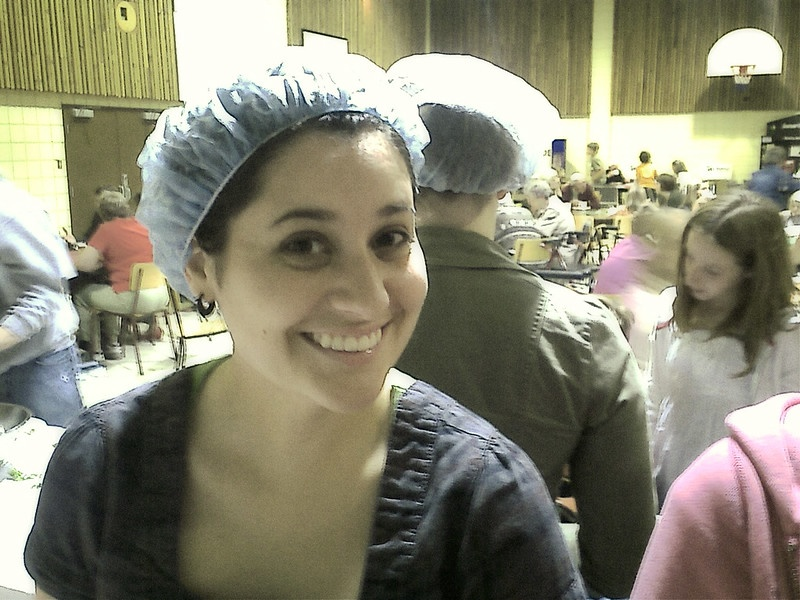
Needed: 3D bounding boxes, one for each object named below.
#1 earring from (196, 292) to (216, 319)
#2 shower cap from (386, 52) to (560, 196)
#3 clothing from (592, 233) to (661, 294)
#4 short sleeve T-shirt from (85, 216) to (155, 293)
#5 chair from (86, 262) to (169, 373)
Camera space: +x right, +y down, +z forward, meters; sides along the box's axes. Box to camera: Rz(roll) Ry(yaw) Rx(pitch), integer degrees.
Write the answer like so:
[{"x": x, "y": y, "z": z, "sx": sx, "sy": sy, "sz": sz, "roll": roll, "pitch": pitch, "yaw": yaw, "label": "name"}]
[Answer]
[{"x": -0.302, "y": 0.010, "z": 1.220, "sx": 0.010, "sy": 0.038, "sz": 0.036, "roll": -11, "pitch": 18, "yaw": -35, "label": "earring"}, {"x": 0.156, "y": -0.372, "z": 1.816, "sx": 0.303, "sy": 0.127, "sz": 0.326, "roll": 15, "pitch": 3, "yaw": -38, "label": "shower cap"}, {"x": 0.976, "y": -0.149, "z": 3.367, "sx": 0.068, "sy": 0.231, "sz": 0.222, "roll": 27, "pitch": 23, "yaw": -23, "label": "clothing"}, {"x": -1.730, "y": -0.264, "z": 4.768, "sx": 0.366, "sy": 0.373, "sz": 0.208, "roll": -13, "pitch": 29, "yaw": -23, "label": "short sleeve T-shirt"}, {"x": -1.839, "y": 0.107, "z": 5.154, "sx": 0.497, "sy": 0.772, "sz": 0.471, "roll": 12, "pitch": 17, "yaw": 28, "label": "chair"}]
